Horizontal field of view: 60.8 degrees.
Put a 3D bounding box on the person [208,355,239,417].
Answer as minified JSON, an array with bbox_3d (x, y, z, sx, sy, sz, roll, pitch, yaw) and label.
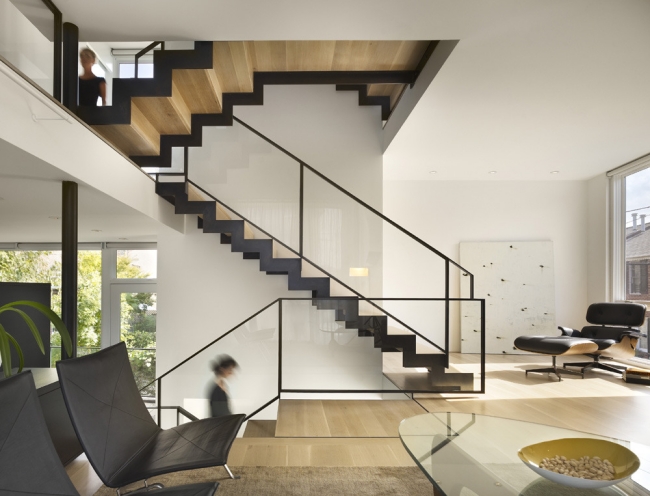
[{"bbox_3d":[-1.118,1.629,6.107,0.327,0.848,0.312,-1,-11,-7],"label":"person"}]

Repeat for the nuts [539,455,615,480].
[{"bbox_3d":[1.728,1.475,3.777,0.513,0.104,0.187,2,-5,-5],"label":"nuts"}]

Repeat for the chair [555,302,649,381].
[{"bbox_3d":[3.966,1.151,7.732,1.041,1.114,1.256,9,-10,-33],"label":"chair"}]

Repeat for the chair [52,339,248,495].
[{"bbox_3d":[-1.316,1.373,4.586,1.213,1.184,0.984,0,-3,2],"label":"chair"}]
